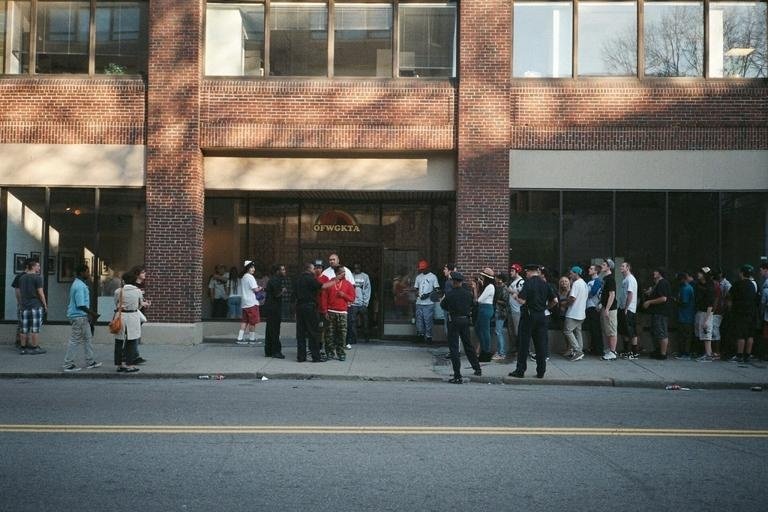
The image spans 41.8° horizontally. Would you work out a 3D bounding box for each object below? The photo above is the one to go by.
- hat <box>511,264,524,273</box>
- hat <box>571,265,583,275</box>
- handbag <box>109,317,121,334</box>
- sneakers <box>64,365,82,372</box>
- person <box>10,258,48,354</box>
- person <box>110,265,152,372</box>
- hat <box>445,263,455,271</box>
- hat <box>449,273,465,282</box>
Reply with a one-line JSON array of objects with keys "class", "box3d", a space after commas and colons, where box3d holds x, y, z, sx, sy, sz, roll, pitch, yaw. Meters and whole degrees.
[{"class": "hat", "box3d": [3.788, 0.437, 28.839, 0.356, 0.355, 0.269, 4, 11, -18]}, {"class": "hat", "box3d": [5.350, 0.428, 28.250, 0.325, 0.188, 0.232, 26, 31, 27]}, {"class": "handbag", "box3d": [-6.793, 1.813, 25.376, 0.251, 0.481, 0.267, 4, 12, 18]}, {"class": "sneakers", "box3d": [-7.909, 2.886, 25.542, 0.418, 0.164, 0.167, 1, 38, -24]}, {"class": "person", "box3d": [-9.769, 1.404, 27.836, 0.739, 2.554, 0.940, -4, 12, -20]}, {"class": "person", "box3d": [-6.528, 1.653, 25.559, 0.610, 2.505, 0.847, 2, 11, 10]}, {"class": "hat", "box3d": [1.864, 0.311, 28.305, 0.250, 0.197, 0.184, -4, 35, -9]}, {"class": "hat", "box3d": [1.849, 0.555, 25.797, 0.296, 0.281, 0.476, 2, 11, 7]}]
